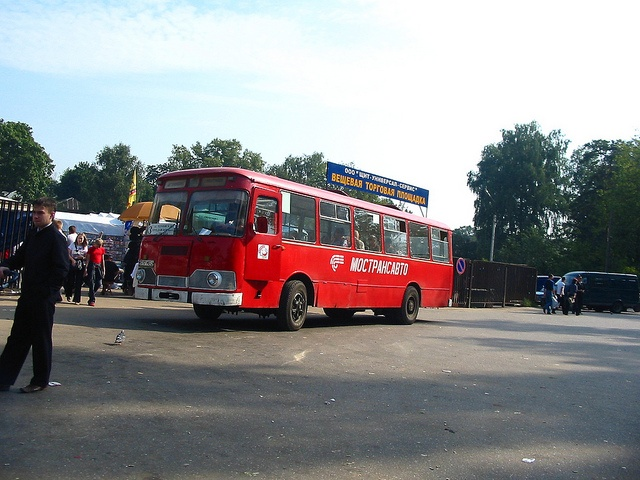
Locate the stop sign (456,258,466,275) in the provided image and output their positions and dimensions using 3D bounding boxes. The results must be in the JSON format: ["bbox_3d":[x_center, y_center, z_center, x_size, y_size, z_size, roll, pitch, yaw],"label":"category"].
[{"bbox_3d":[9.146,1.732,29.315,0.146,1.168,1.155,-2,-3,39],"label":"stop sign"}]

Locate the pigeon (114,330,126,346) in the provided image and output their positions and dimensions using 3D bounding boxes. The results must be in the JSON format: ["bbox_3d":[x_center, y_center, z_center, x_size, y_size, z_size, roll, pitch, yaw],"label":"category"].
[{"bbox_3d":[-3.968,1.967,8.910,0.223,0.326,0.116,7,-7,9],"label":"pigeon"}]

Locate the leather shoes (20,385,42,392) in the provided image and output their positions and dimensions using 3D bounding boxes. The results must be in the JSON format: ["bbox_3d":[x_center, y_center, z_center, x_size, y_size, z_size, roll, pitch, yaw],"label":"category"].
[{"bbox_3d":[-3.422,1.779,5.374,0.263,0.107,0.093,14,-14,-35],"label":"leather shoes"}]

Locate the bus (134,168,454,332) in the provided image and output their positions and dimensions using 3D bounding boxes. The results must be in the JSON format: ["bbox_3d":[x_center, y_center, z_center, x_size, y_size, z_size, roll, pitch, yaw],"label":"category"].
[{"bbox_3d":[0.560,0.705,15.808,3.213,4.432,13.088,1,-5,40],"label":"bus"}]
